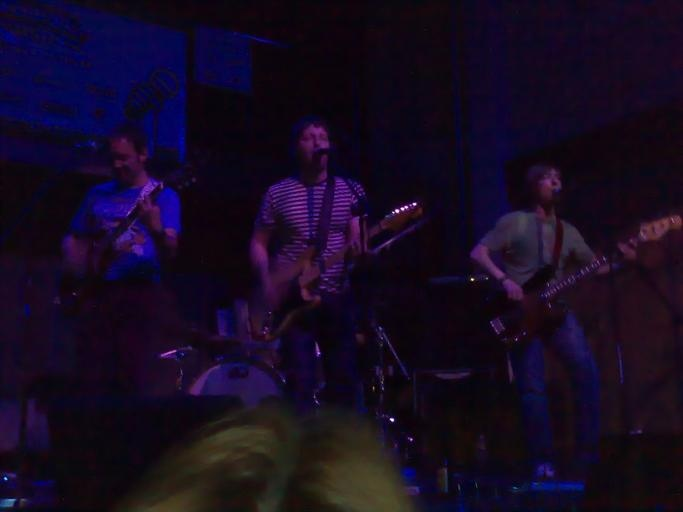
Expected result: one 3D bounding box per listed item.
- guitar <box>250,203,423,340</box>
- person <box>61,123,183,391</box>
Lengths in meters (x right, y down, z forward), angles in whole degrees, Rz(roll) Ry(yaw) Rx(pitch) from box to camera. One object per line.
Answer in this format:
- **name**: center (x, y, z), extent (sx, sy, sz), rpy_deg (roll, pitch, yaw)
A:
- **guitar**: center (-0.052, 0.051, 3.863), extent (0.936, 0.847, 0.521), rpy_deg (2, -15, -10)
- **person**: center (-1.166, -0.022, 3.553), extent (0.610, 1.517, 0.487), rpy_deg (5, -15, -19)
